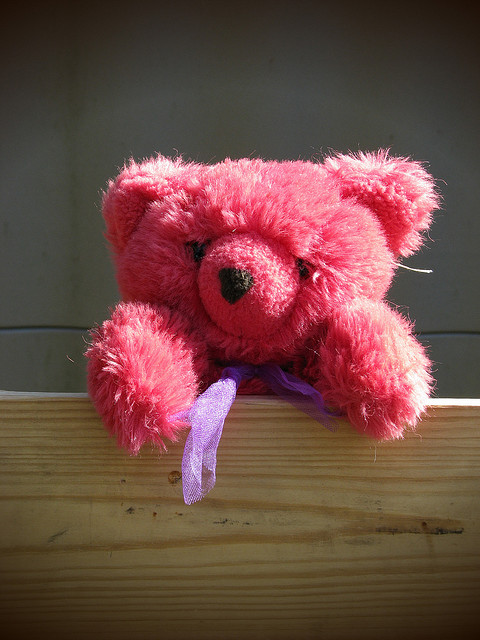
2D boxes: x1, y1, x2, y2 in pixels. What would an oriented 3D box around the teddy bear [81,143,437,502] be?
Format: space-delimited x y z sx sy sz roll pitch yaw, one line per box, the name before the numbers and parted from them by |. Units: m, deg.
teddy bear | 0.013 0.001 0.988 0.495 0.379 0.321 1 26 1
